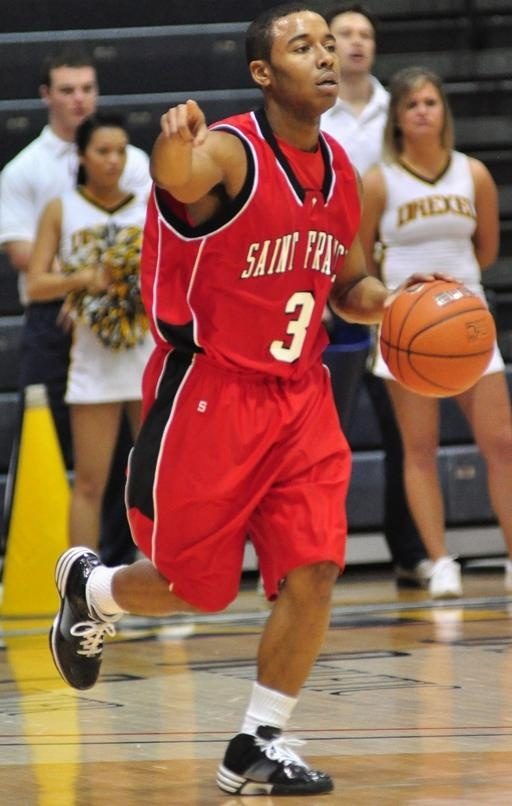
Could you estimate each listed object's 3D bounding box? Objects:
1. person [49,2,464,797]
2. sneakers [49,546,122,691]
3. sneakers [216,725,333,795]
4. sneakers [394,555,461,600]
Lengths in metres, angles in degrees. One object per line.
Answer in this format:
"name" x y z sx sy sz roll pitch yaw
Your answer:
"person" -0.048 -0.055 1.370 0.409 1.175 0.733 2 21 7
"sneakers" -0.394 0.498 1.995 0.147 0.364 0.165 -11 2 -44
"sneakers" 0.024 0.560 1.281 0.199 0.102 0.070 0 -8 2
"sneakers" 0.713 0.755 3.498 0.143 0.149 0.401 2 -11 -11
